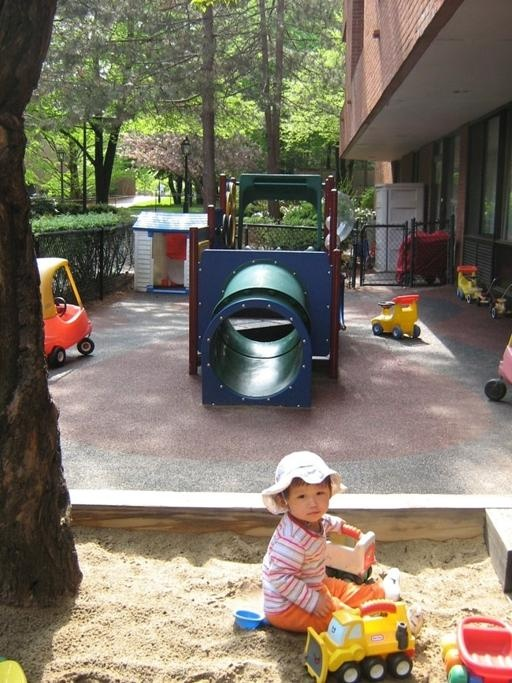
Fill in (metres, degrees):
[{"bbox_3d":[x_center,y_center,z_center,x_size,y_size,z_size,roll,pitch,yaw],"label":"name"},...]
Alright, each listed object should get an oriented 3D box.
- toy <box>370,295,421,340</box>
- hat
[{"bbox_3d":[2.168,-0.431,8.931,0.476,0.751,0.867,-6,17,-29],"label":"toy"},{"bbox_3d":[0.159,0.433,1.973,0.242,0.238,0.129,-6,37,-11],"label":"hat"}]
